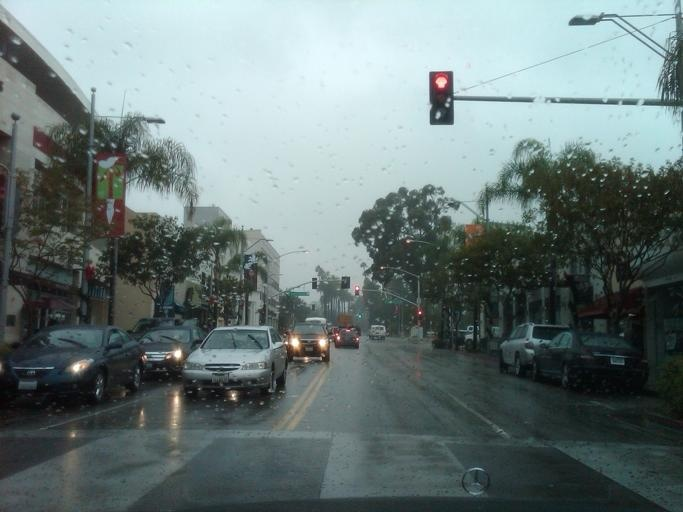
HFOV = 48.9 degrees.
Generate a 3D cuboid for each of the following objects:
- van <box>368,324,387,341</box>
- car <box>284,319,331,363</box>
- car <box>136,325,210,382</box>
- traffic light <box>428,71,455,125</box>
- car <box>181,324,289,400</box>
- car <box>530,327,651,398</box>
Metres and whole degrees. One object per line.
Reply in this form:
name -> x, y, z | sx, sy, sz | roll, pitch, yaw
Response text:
van -> 4.135, 9.015, 88.929 | 1.210, 1.255, 2.272 | 1, -16, -2
car -> -1.550, 3.867, 34.143 | 1.854, 1.960, 2.190 | 2, -12, -5
car -> -5.573, 2.993, 24.204 | 1.358, 1.463, 3.659 | 0, -6, 0
traffic light -> 2.274, -3.655, 17.374 | 0.579, 1.453, 0.112 | 1, -19, 6
car -> -2.829, 3.015, 21.392 | 2.217, 2.062, 5.730 | -1, -8, 4
car -> 7.542, 3.240, 23.226 | 2.305, 2.126, 4.052 | 2, -6, 7
